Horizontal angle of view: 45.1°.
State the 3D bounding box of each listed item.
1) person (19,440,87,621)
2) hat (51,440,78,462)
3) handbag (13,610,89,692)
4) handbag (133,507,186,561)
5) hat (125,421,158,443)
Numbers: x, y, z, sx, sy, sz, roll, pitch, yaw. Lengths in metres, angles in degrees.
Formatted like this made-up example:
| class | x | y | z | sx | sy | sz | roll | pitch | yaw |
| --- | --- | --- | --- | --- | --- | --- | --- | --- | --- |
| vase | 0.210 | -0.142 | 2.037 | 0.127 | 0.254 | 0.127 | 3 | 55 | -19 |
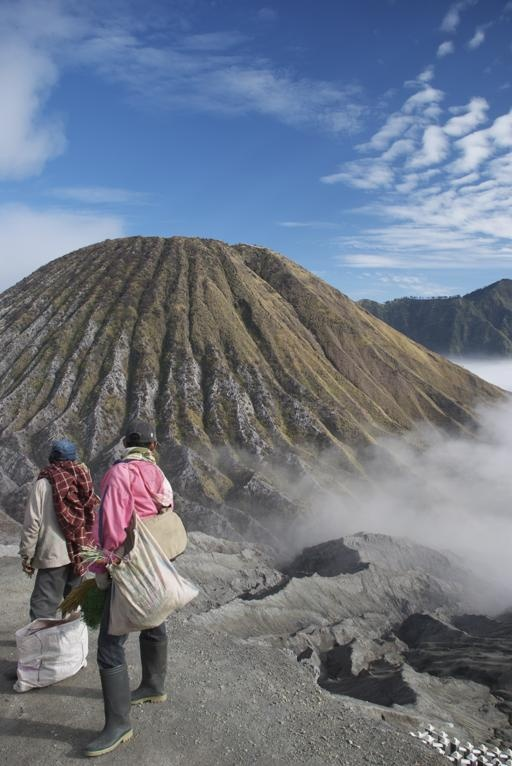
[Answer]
| class | x | y | z | sx | sy | sz | roll | pitch | yaw |
| --- | --- | --- | --- | --- | --- | --- | --- | --- | --- |
| person | -2.043 | 1.544 | 6.386 | 0.854 | 1.842 | 0.543 | -8 | 9 | -39 |
| hat | -2.089 | 0.715 | 6.635 | 0.243 | 0.283 | 0.314 | -1 | 2 | -9 |
| handbag | -1.993 | 2.646 | 6.048 | 0.513 | 0.641 | 0.930 | -14 | -21 | 35 |
| handbag | -0.764 | 1.294 | 5.162 | 0.133 | 0.398 | 0.425 | -21 | 21 | -35 |
| hat | -1.005 | 0.420 | 5.516 | 0.271 | 0.197 | 0.428 | 4 | 0 | 1 |
